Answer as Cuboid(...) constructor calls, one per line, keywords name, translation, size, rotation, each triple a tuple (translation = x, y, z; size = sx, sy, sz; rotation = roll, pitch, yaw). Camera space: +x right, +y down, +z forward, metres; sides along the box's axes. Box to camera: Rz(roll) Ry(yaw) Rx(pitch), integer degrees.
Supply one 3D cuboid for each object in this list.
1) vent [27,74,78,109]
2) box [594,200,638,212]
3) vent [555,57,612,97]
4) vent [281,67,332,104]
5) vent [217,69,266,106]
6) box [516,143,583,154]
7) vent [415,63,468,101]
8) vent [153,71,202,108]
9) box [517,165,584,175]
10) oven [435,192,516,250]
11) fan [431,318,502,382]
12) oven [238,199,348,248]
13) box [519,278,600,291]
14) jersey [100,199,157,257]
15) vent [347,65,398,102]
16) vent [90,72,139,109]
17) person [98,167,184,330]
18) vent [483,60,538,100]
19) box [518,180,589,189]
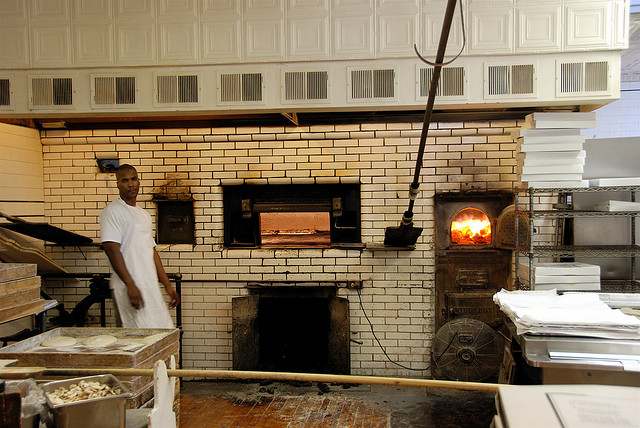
Cuboid(name="vent", translation=(-2.916, -1.337, 8.408), size=(0.428, 0.271, 0.056), rotation=(0, 2, 1))
Cuboid(name="box", translation=(3.057, -0.082, 7.887), size=(0.411, 0.099, 0.119), rotation=(0, 3, 19))
Cuboid(name="vent", translation=(2.797, -1.432, 8.041), size=(0.622, 0.411, 0.068), rotation=(7, 22, 41))
Cuboid(name="vent", translation=(-0.122, -1.394, 8.247), size=(0.447, 0.291, 0.063), rotation=(0, 3, 3))
Cuboid(name="vent", translation=(-0.828, -1.379, 8.300), size=(0.440, 0.278, 0.058), rotation=(1, 5, 4))
Cuboid(name="box", translation=(2.389, -0.687, 7.970), size=(0.627, 0.091, 0.164), rotation=(0, 3, 10))
Cuboid(name="vent", translation=(1.293, -1.401, 8.164), size=(0.585, 0.374, 0.070), rotation=(-2, 1, -5))
Cuboid(name="vent", translation=(-1.528, -1.364, 8.347), size=(0.443, 0.293, 0.056), rotation=(1, 4, 1))
Cuboid(name="box", translation=(2.404, -0.459, 7.985), size=(0.633, 0.090, 0.148), rotation=(0, 3, 8))
Cuboid(name="oven", translation=(1.785, 0.081, 8.917), size=(0.935, 0.604, 0.477), rotation=(-2, 6, 5))
Cuboid(name="fan", translation=(1.612, 1.496, 8.332), size=(0.809, 0.726, 0.342), rotation=(0, 1, 9))
Cuboid(name="oven", translation=(-0.312, 0.128, 9.124), size=(1.403, 0.564, 0.362), rotation=(-1, 0, 17))
Cuboid(name="box", translation=(2.515, 0.739, 7.798), size=(0.660, 0.095, 0.053), rotation=(0, 3, 4))
Cuboid(name="jersey", translation=(-1.976, 0.153, 7.894), size=(0.265, 0.596, 0.708), rotation=(-4, -3, 30))
Cuboid(name="vent", translation=(0.590, -1.411, 8.207), size=(0.445, 0.284, 0.059), rotation=(1, 3, 3))
Cuboid(name="vent", translation=(-2.215, -1.356, 8.405), size=(0.499, 0.383, 0.051), rotation=(-6, 30, -31))
Cuboid(name="person", translation=(-1.879, 0.348, 7.795), size=(0.608, 1.649, 0.314), rotation=(-3, 4, -39))
Cuboid(name="vent", translation=(2.046, -1.436, 8.110), size=(0.467, 0.296, 0.065), rotation=(1, 1, 7))
Cuboid(name="box", translation=(2.477, -0.305, 7.918), size=(0.589, 0.068, 0.147), rotation=(0, 3, 15))
